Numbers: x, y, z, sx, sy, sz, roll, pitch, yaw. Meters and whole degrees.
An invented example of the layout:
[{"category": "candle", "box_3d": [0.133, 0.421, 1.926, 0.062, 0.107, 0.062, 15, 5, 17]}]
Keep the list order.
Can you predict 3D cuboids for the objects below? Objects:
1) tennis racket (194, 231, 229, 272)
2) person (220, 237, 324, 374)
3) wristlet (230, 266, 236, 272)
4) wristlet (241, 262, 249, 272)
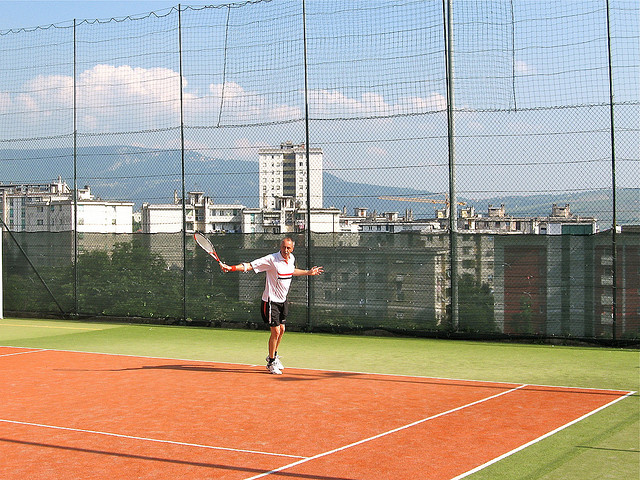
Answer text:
[{"category": "tennis racket", "box_3d": [-2.215, 0.264, 19.550, 0.193, 0.340, 1.198, 15, 26, -48]}, {"category": "person", "box_3d": [-0.687, 1.067, 15.245, 1.149, 2.177, 0.411, 0, 6, -4]}, {"category": "wristlet", "box_3d": [-1.335, 0.435, 14.801, 0.059, 0.057, 0.060, -4, -15, 0]}, {"category": "wristlet", "box_3d": [-1.173, 0.422, 15.136, 0.109, 0.133, 0.136, -2, -34, -6]}]
